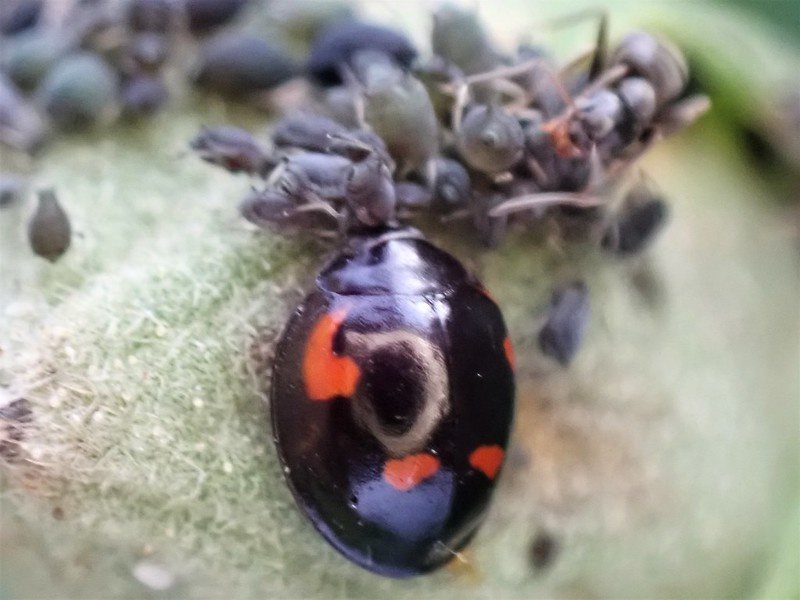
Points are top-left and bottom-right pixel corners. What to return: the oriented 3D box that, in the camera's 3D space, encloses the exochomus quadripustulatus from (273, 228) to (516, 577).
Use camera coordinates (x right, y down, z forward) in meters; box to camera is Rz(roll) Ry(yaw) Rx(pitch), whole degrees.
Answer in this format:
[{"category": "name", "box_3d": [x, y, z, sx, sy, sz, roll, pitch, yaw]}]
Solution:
[{"category": "exochomus quadripustulatus", "box_3d": [-0.012, 0.069, 0.769, 0.209, 0.095, 0.254, -5, 96, -30]}]
